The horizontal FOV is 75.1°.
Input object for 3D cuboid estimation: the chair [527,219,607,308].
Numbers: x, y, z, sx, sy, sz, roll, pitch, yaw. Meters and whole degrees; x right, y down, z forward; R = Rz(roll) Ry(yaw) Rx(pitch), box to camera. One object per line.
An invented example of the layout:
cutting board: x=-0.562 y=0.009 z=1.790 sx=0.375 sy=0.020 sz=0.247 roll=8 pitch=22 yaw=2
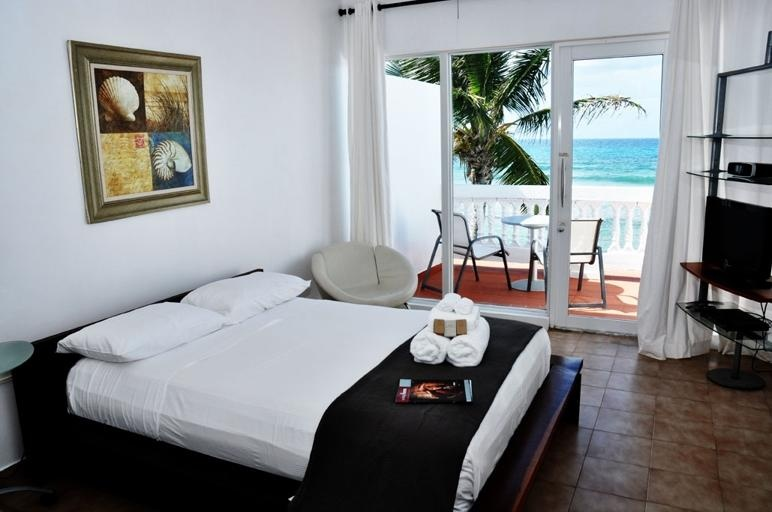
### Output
chair: x=2.070 y=-0.060 z=5.210 sx=0.648 sy=0.898 sz=0.686 roll=-32 pitch=25 yaw=-29

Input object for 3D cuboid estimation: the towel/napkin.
towel/napkin: x=0.477 y=0.463 z=3.380 sx=0.330 sy=0.257 sz=0.549 roll=2 pitch=12 yaw=21

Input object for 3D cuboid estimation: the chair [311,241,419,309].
chair: x=-0.238 y=0.172 z=5.002 sx=0.817 sy=0.768 sz=0.751 roll=-17 pitch=6 yaw=-32
